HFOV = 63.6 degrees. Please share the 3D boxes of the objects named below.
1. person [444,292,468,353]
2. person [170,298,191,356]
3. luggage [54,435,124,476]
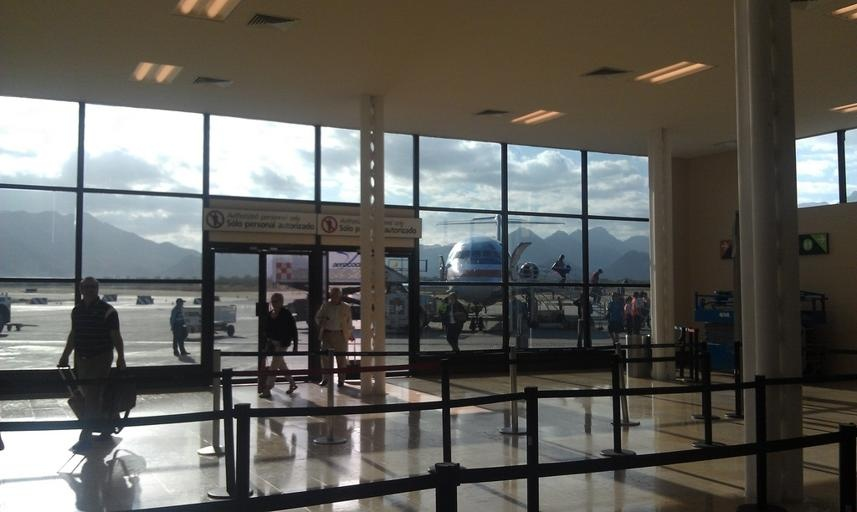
[{"bbox_3d":[0.710,1.809,19.367,0.679,1.608,0.244,-2,-2,-7],"label":"person"},{"bbox_3d":[-6.191,1.753,17.024,0.421,1.432,0.216,-2,-2,-18],"label":"person"},{"bbox_3d":[-5.777,3.382,11.737,0.700,0.634,0.431,8,-31,5],"label":"luggage"}]
